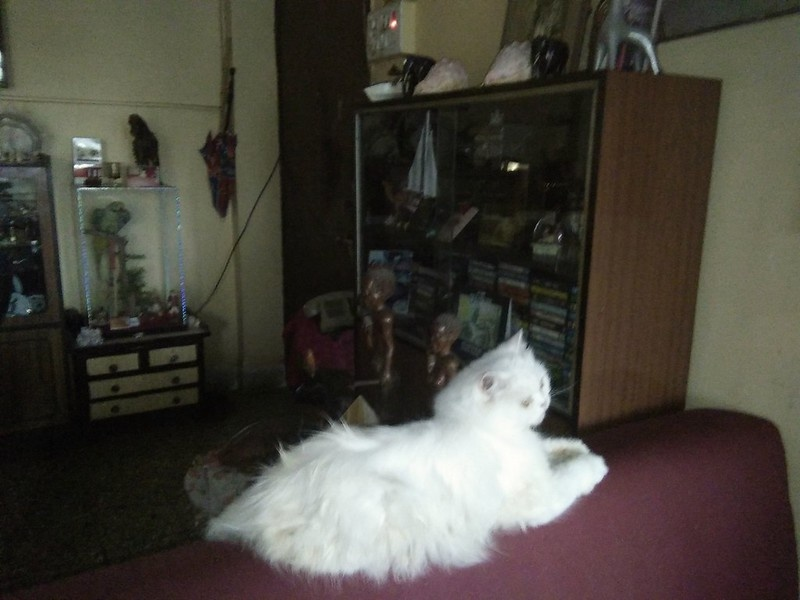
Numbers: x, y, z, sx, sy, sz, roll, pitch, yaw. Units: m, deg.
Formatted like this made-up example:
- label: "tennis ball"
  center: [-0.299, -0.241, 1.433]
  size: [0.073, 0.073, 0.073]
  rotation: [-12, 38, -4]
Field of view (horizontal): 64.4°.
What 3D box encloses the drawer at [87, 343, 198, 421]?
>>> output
- label: "drawer"
  center: [-1.102, 0.345, 2.720]
  size: [0.505, 0.362, 0.280]
  rotation: [-4, 10, -25]
